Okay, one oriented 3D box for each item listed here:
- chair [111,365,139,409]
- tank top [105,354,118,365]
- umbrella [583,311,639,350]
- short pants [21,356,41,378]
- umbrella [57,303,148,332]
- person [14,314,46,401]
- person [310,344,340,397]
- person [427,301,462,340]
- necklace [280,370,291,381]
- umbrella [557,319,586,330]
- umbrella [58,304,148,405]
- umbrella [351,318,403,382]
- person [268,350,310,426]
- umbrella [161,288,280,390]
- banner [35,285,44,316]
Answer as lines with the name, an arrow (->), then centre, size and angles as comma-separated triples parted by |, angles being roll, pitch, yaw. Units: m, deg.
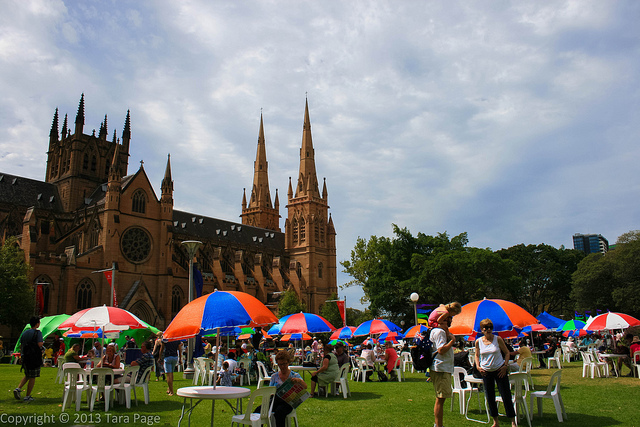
chair -> -7.160, 6.375, 19.969 | 0.924, 1.518, 0.931 | 4, -21, -20
tank top -> -7.986, 5.576, 20.719 | 0.265, 0.435, 0.406 | -3, 18, -1
umbrella -> 14.351, 5.658, 26.896 | 1.388, 0.887, 1.364 | -3, -22, -1
short pants -> -10.852, 5.784, 20.390 | 0.747, 0.773, 0.744 | -1, 0, -2
umbrella -> -9.095, 4.247, 22.434 | 2.537, 1.057, 2.553 | 1, -11, -11
person -> -10.809, 5.363, 20.323 | 0.958, 3.053, 1.249 | -3, -9, -3
person -> 0.098, 6.214, 21.675 | 1.115, 2.010, 1.134 | -12, -22, 24
person -> 3.877, 3.247, 16.978 | 0.887, 1.167, 0.722 | 12, 11, 17
necklace -> -1.069, 4.913, 16.470 | 0.291, 0.280, 0.077 | 2, -20, -15
umbrella -> 16.181, 7.336, 35.547 | 1.290, 0.459, 1.272 | 2, -19, -21
umbrella -> -9.593, 5.898, 23.171 | 3.817, 3.866, 3.507 | -3, -13, 7
umbrella -> 3.293, 7.294, 29.644 | 2.861, 3.234, 3.053 | -7, -7, 25
person -> -0.949, 5.238, 16.394 | 1.025, 2.148, 0.717 | 2, -20, -13
umbrella -> -3.467, 4.277, 18.525 | 3.779, 3.531, 3.770 | -8, -10, 27
banner -> -24.350, 7.471, 47.046 | 0.633, 3.001, 2.997 | 7, -22, -26
